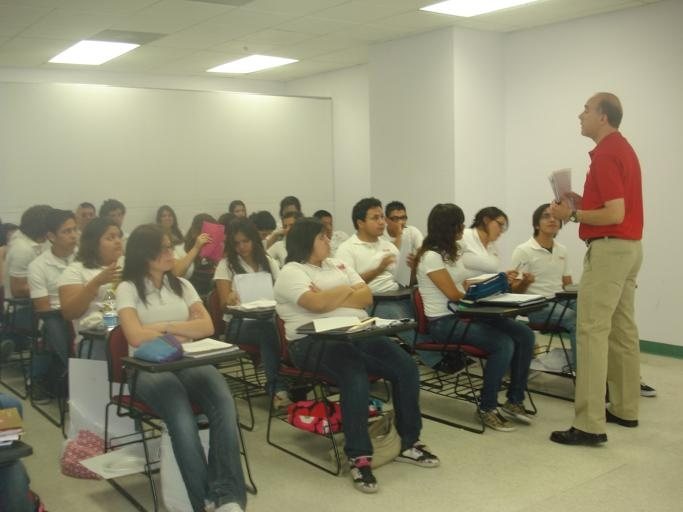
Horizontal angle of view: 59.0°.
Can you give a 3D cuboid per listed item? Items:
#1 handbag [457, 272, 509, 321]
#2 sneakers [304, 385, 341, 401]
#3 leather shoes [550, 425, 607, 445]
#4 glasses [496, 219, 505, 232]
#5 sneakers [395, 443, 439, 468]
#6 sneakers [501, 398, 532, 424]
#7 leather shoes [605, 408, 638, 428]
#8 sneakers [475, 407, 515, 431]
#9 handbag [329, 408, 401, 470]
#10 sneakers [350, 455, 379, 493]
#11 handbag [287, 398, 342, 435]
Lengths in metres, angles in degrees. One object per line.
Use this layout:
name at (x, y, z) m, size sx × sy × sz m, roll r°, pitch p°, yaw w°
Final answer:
handbag at (1.038, 0.281, 4.456) m, size 0.365 × 0.158 × 0.275 m, roll -19°, pitch 10°, yaw -22°
sneakers at (-0.128, 1.108, 4.900) m, size 0.240 × 0.105 × 0.325 m, roll 1°, pitch -4°, yaw -20°
leather shoes at (1.638, 1.244, 4.197) m, size 0.348 × 0.166 × 0.149 m, roll 3°, pitch -1°, yaw 24°
glasses at (1.291, -0.244, 4.965) m, size 0.029 × 0.089 × 0.084 m, roll -33°, pitch -15°, yaw 14°
sneakers at (0.511, 1.333, 4.043) m, size 0.246 × 0.118 × 0.121 m, roll -2°, pitch -7°, yaw 22°
sneakers at (1.307, 1.180, 4.613) m, size 0.108 × 0.106 × 0.247 m, roll 17°, pitch 0°, yaw -41°
leather shoes at (2.053, 1.227, 4.549) m, size 0.099 × 0.119 × 0.277 m, roll 0°, pitch -1°, yaw -33°
sneakers at (1.134, 1.206, 4.476) m, size 0.242 × 0.115 × 0.115 m, roll 4°, pitch 4°, yaw 33°
handbag at (0.207, 1.243, 4.123) m, size 0.285 × 0.169 × 0.372 m, roll -3°, pitch 2°, yaw -36°
sneakers at (0.134, 1.354, 3.772) m, size 0.162 × 0.185 × 0.193 m, roll -2°, pitch 10°, yaw -4°
handbag at (-0.174, 1.070, 4.008) m, size 0.227 × 0.115 × 0.300 m, roll -3°, pitch -12°, yaw 41°
